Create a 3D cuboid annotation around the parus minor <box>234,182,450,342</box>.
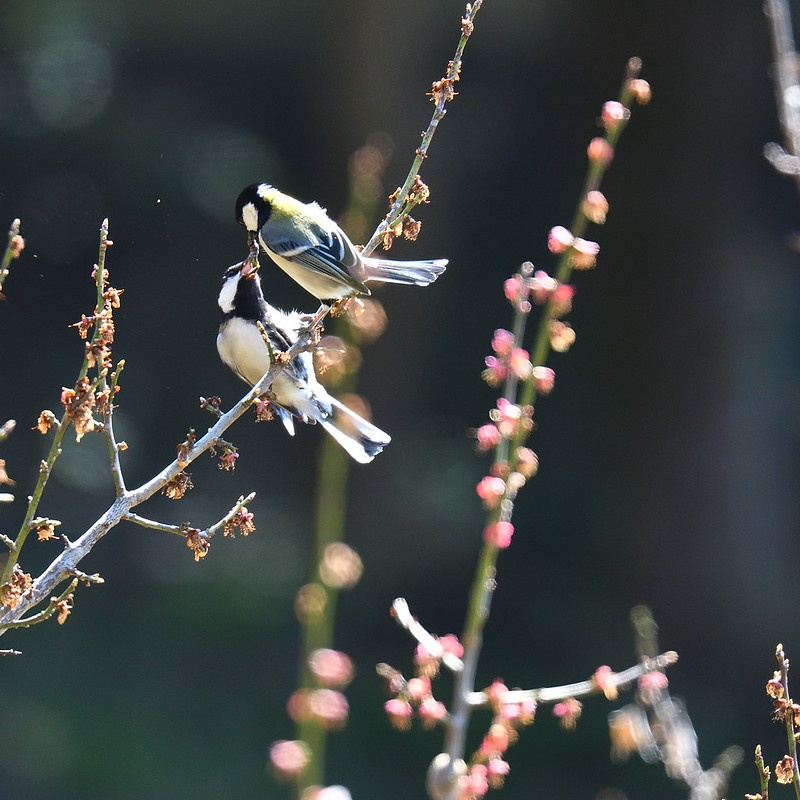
[{"bbox_3d":[-0.184,-0.395,3.616,0.533,0.189,0.319,24,-31,27],"label":"parus minor"}]
